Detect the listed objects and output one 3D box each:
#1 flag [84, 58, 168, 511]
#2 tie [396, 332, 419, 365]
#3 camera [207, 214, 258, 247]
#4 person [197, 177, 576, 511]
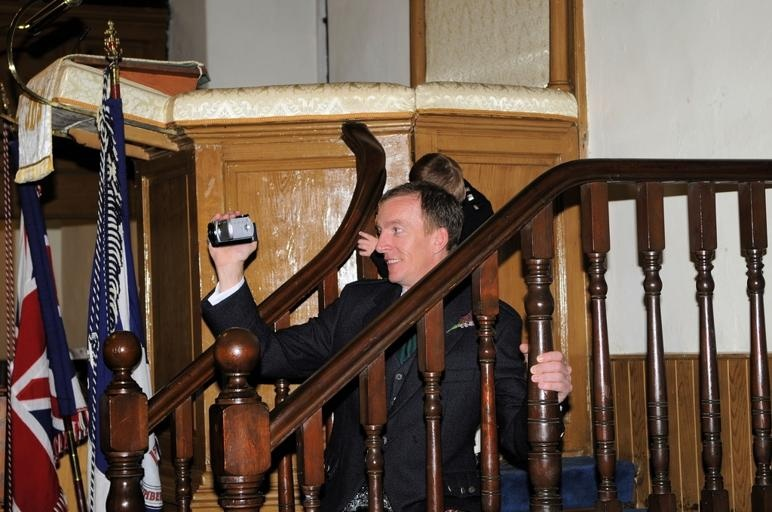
[{"bbox_3d":[-1.256,0.160,6.707,0.400,2.148,0.419,3,-2,-14],"label":"flag"},{"bbox_3d":[0.097,0.433,6.353,0.090,0.140,0.040,13,-11,43],"label":"tie"},{"bbox_3d":[-0.707,-0.111,6.210,0.189,0.137,0.074,-7,3,-12],"label":"camera"},{"bbox_3d":[0.024,0.413,6.358,1.658,1.553,0.824,3,-2,10],"label":"person"}]
